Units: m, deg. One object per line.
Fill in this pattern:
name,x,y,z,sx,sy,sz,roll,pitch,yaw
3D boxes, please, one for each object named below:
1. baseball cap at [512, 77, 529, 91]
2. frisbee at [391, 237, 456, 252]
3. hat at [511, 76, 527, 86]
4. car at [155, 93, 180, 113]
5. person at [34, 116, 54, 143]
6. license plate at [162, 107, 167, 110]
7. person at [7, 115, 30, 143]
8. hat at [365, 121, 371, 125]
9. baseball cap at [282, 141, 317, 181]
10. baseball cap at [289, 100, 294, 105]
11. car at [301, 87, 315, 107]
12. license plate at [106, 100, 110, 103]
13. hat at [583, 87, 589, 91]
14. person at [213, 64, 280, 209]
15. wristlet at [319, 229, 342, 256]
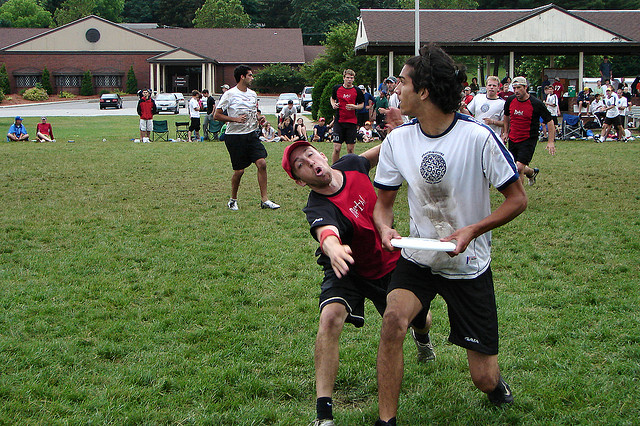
baseball cap,4.238,-2.828,12.264,0.189,0.209,0.258,-3,18,-24
frisbee,0.921,0.293,5.165,0.579,0.131,0.305,3,10,16
hat,4.251,-2.887,12.246,0.203,0.194,0.264,-2,0,11
car,-11.544,-8.395,43.335,1.532,1.392,2.388,-3,10,-20
person,-10.719,-3.310,22.425,0.646,0.977,0.761,4,12,-17
license plate,-11.604,-7.893,42.778,0.132,0.173,0.245,3,-3,13
person,-12.214,-3.441,23.138,0.709,0.917,2.805,-4,11,-28
hat,1.575,-3.045,18.985,0.132,0.104,0.140,1,1,12
baseball cap,-0.267,-0.549,5.769,0.225,0.380,0.340,-6,11,-36
baseball cap,-1.162,-4.503,22.984,0.185,0.199,0.183,-3,-26,-4
car,-0.947,-10.014,49.522,1.679,1.593,3.231,0,19,0
license plate,-17.795,-9.489,48.197,0.174,0.171,0.041,-3,14,-6
hat,13.000,-6.191,28.086,0.220,0.157,0.309,0,4,9
person,-1.517,-1.520,11.449,1.061,2.843,0.588,-1,9,-9
wristlet,0.086,0.237,5.357,0.175,0.187,0.125,-5,10,-29
